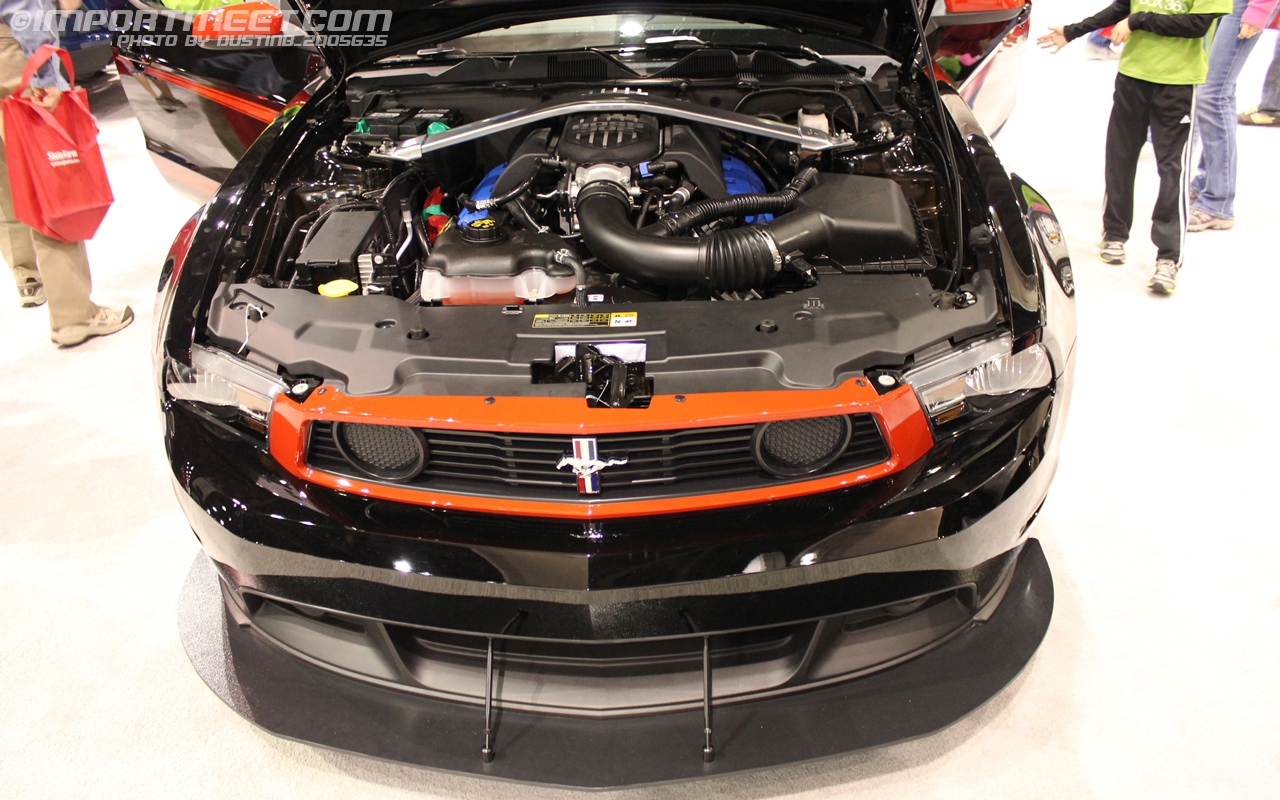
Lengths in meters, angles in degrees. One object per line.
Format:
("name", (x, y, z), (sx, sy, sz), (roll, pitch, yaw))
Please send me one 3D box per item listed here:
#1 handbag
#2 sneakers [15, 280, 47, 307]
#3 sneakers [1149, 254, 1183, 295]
("handbag", (-2.684, -1.038, 3.944), (0.400, 0.703, 0.195), (-17, 30, -30))
("sneakers", (-3.158, -0.554, 4.458), (0.099, 0.080, 0.203), (-2, 14, -17))
("sneakers", (2.584, -0.605, 4.246), (0.117, 0.162, 0.178), (14, 28, 28))
